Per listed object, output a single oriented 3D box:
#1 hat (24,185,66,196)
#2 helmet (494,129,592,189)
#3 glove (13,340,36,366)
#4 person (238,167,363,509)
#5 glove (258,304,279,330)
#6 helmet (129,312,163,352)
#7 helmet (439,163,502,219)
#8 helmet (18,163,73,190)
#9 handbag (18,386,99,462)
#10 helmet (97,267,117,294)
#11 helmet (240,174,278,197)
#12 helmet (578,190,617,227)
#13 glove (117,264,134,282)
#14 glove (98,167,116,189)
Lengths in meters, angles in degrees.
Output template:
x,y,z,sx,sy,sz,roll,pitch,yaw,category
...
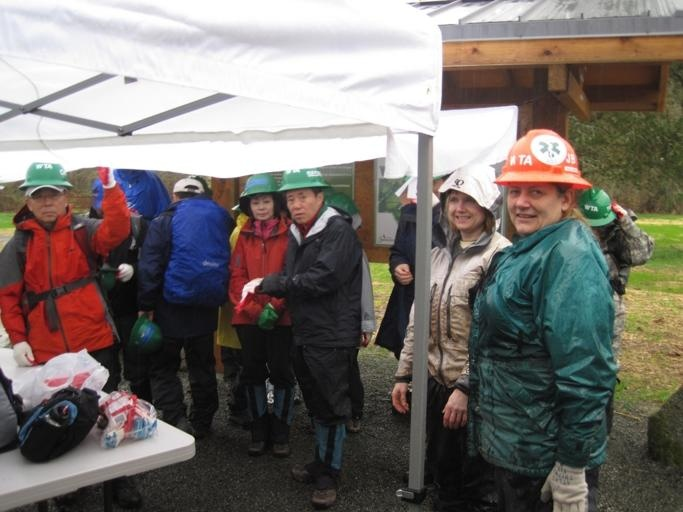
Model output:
x,y,z,sx,sy,sz,roll,pitch,yaw,category
-2.050,-0.447,4.375,0.268,0.085,0.251,-4,10,-24,hat
0.999,-0.494,3.185,0.441,0.248,0.400,5,2,11,helmet
-2.082,0.648,4.160,0.055,0.162,0.115,-25,0,7,glove
-0.175,0.545,4.681,0.650,2.333,0.758,-9,12,-44,person
-0.564,0.468,4.797,0.147,0.079,0.179,-20,-11,9,glove
-1.587,0.646,5.188,0.229,0.216,0.273,-41,7,47,helmet
0.772,-0.410,3.939,0.212,0.171,0.301,10,-20,27,helmet
-2.065,-0.552,4.401,0.250,0.161,0.324,-1,-4,-19,helmet
-1.413,0.812,3.221,0.385,0.284,0.148,-38,15,-14,handbag
-1.791,0.188,4.816,0.166,0.187,0.158,-1,4,-45,helmet
-0.658,-0.565,5.102,0.228,0.119,0.208,-3,0,-12,helmet
2.021,-0.419,5.032,0.296,0.234,0.402,1,29,22,helmet
-1.732,0.132,5.051,0.133,0.136,0.129,-8,11,-39,glove
-1.584,-0.528,4.236,0.083,0.056,0.146,-8,-33,-13,glove
